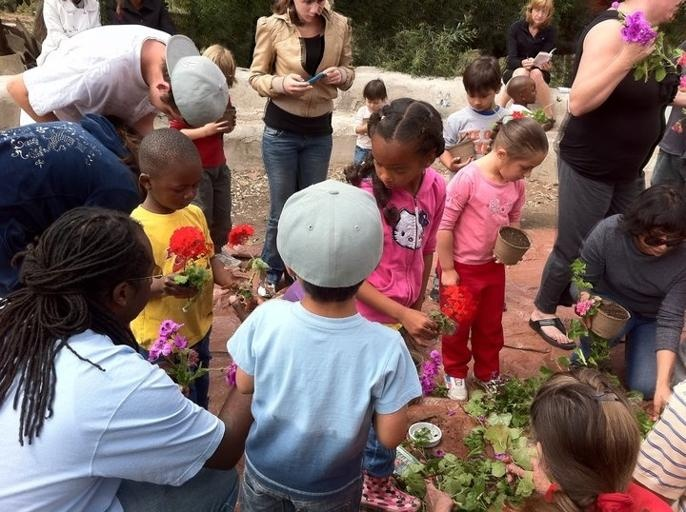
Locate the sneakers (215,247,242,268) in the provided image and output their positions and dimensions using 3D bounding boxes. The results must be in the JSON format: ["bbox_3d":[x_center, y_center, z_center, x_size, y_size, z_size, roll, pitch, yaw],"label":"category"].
[{"bbox_3d":[-1.108,0.045,5.337,0.214,0.074,0.151,34,53,10],"label":"sneakers"}]

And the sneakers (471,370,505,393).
[{"bbox_3d":[1.024,0.894,3.938,0.207,0.093,0.102,-1,18,41],"label":"sneakers"}]

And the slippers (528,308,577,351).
[{"bbox_3d":[1.668,0.599,4.528,0.165,0.176,0.438,-21,40,-25],"label":"slippers"}]

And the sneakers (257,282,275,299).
[{"bbox_3d":[-0.671,0.306,4.819,0.111,0.164,0.162,12,-10,14],"label":"sneakers"}]

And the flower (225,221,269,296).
[{"bbox_3d":[-0.648,0.016,3.839,0.215,0.510,0.254,-20,19,-21],"label":"flower"}]

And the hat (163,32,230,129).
[{"bbox_3d":[-0.857,-1.045,3.255,0.208,0.520,0.350,-1,6,41],"label":"hat"}]

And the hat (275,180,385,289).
[{"bbox_3d":[-0.066,-0.165,2.417,0.497,0.298,0.688,2,26,-2],"label":"hat"}]

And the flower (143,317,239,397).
[{"bbox_3d":[-0.801,0.640,2.914,0.190,0.432,0.278,-34,-5,6],"label":"flower"}]

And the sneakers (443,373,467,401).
[{"bbox_3d":[0.780,0.910,3.891,0.086,0.095,0.218,1,34,-12],"label":"sneakers"}]

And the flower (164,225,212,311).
[{"bbox_3d":[-0.849,0.076,3.032,0.222,0.477,0.383,-2,32,-15],"label":"flower"}]

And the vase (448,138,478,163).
[{"bbox_3d":[1.052,-0.929,4.897,0.207,0.155,0.173,-16,2,27],"label":"vase"}]
